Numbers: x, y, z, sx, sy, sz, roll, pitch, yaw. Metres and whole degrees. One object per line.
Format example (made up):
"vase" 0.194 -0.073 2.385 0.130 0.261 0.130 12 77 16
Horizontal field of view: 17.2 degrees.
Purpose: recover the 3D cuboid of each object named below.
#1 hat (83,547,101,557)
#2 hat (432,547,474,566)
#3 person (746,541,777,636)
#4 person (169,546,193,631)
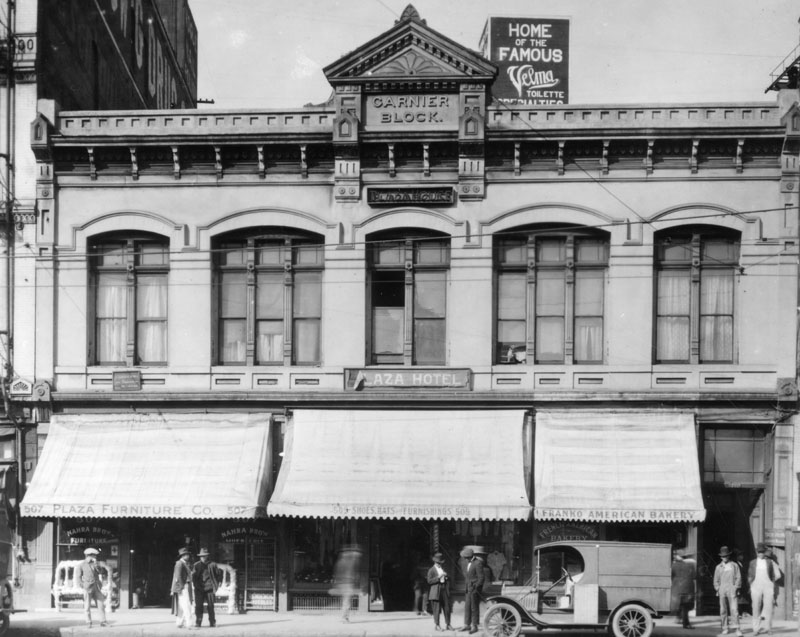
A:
"hat" -7.400 5.640 63.843 0.328 0.104 0.324 1 -8 14
"hat" 1.275 5.687 63.724 0.828 0.473 0.318 -5 -12 5
"person" 8.570 6.471 63.126 0.592 2.188 1.156 -1 -14 7
"person" -5.144 6.504 62.784 0.504 1.591 0.394 1 -14 -1
